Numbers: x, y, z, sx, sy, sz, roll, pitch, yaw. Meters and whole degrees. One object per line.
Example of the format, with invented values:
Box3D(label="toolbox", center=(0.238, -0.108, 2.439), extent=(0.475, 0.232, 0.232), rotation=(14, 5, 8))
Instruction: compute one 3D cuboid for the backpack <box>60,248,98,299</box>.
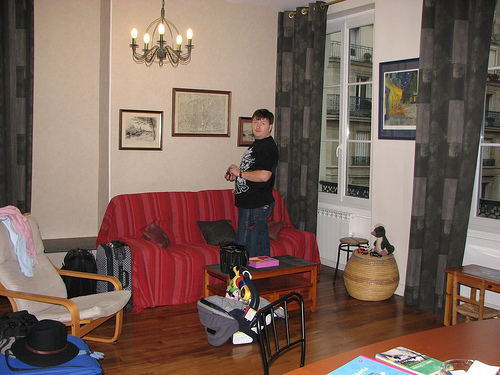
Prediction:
Box3D(label="backpack", center=(-1.797, 0.823, 4.100), extent=(0.331, 0.635, 0.443), rotation=(-1, 36, -24))

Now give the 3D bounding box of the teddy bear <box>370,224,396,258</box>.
Box3D(label="teddy bear", center=(1.583, 0.626, 4.563), extent=(0.256, 0.366, 0.424), rotation=(5, 8, 26))

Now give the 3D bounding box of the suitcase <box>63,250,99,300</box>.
Box3D(label="suitcase", center=(-1.739, 0.834, 3.986), extent=(0.354, 0.717, 0.520), rotation=(0, -8, -25))

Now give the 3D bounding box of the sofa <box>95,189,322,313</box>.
Box3D(label="sofa", center=(-0.831, 0.655, 4.962), extent=(3.210, 1.243, 1.554), rotation=(2, 7, -36))

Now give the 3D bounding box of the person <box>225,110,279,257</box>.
Box3D(label="person", center=(0.032, -0.012, 4.088), extent=(0.482, 1.591, 0.448), rotation=(1, 7, -3))
